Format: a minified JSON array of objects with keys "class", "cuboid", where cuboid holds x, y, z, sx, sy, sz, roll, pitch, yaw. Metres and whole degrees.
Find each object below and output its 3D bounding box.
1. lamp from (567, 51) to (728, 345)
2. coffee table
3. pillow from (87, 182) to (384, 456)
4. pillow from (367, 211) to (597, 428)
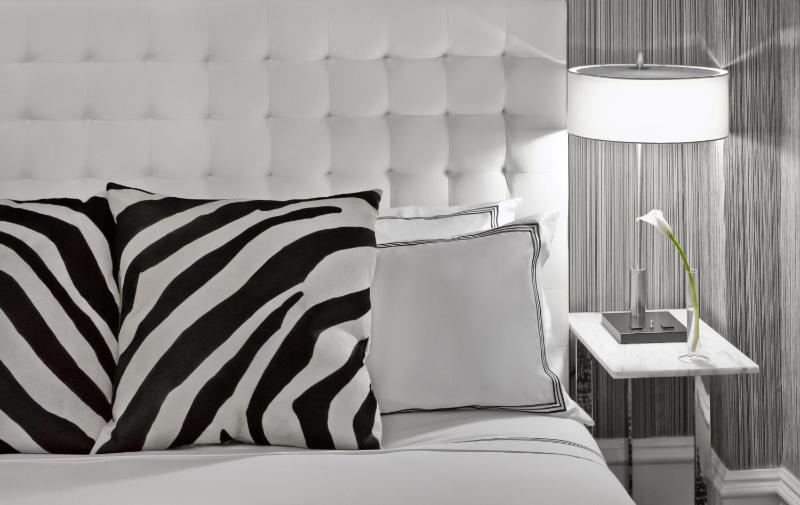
[{"class":"lamp","cuboid":[0.897,-0.245,2.895,0.616,1.028,0.620,13,-9,-32]},{"class":"coffee table","cuboid":[1.010,0.611,3.286,0.654,0.682,0.665,-2,-75,-9]},{"class":"pillow","cuboid":[-0.542,0.256,2.569,0.740,0.757,0.268,-1,-3,0]},{"class":"pillow","cuboid":[0.237,0.220,2.737,0.728,0.622,0.445,-4,-47,-6]}]
